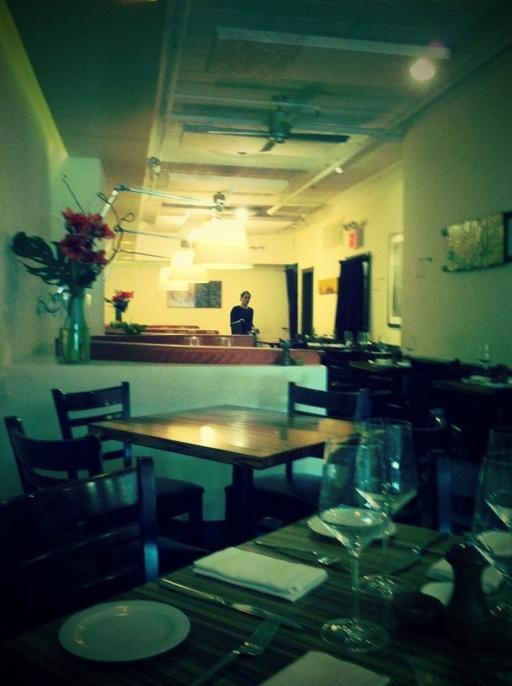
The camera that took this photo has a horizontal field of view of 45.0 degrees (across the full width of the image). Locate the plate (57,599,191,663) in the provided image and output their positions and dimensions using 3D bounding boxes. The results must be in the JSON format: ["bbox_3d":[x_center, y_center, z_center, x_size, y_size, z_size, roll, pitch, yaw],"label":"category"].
[{"bbox_3d":[-0.137,0.300,0.649,0.136,0.015,0.100,0,4,-3],"label":"plate"}]

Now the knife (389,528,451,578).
[{"bbox_3d":[0.226,0.291,0.852,0.032,0.011,0.232,-3,-1,38],"label":"knife"}]

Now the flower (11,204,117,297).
[{"bbox_3d":[-0.825,-0.344,2.561,0.313,0.260,0.321,23,13,-9],"label":"flower"}]
